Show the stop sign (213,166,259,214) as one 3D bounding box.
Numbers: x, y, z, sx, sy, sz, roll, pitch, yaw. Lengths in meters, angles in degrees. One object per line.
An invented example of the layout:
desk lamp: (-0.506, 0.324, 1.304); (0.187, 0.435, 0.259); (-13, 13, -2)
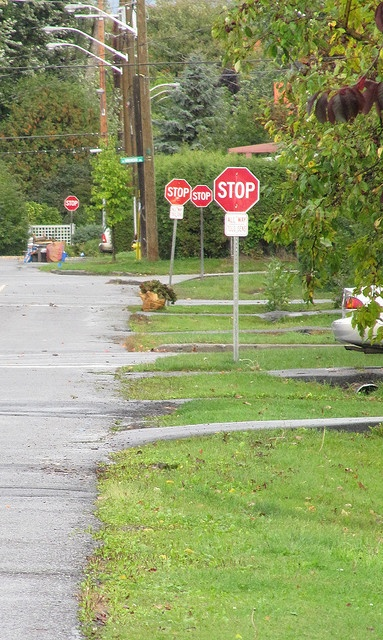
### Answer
stop sign: (0.568, -1.708, 15.229); (0.540, 0.591, 0.726); (1, 6, -1)

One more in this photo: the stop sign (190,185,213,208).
stop sign: (0.229, -3.405, 31.973); (0.496, 0.608, 1.114); (0, 6, -3)

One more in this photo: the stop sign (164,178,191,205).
stop sign: (-0.327, -2.827, 25.684); (0.476, 0.584, 0.823); (1, 6, 4)
